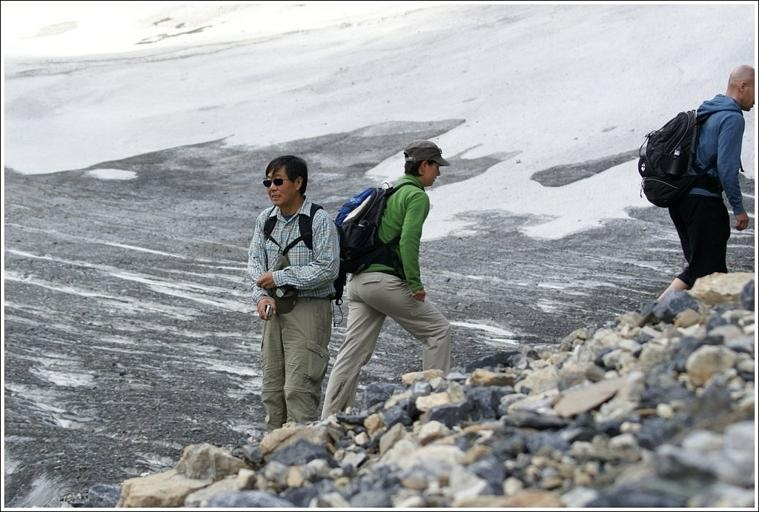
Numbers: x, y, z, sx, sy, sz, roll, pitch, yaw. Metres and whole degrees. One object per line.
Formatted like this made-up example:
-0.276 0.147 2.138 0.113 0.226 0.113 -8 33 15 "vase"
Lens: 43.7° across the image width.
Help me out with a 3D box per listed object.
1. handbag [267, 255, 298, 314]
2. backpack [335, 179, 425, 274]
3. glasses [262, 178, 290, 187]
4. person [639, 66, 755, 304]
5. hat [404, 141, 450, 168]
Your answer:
-0.913 0.295 9.405 0.335 0.480 0.210 9 5 40 "handbag"
-0.055 -0.239 9.683 0.714 0.923 0.237 -8 11 3 "backpack"
-1.027 -0.732 9.458 0.242 0.098 0.115 -4 10 17 "glasses"
3.261 -0.653 9.798 1.033 1.928 0.498 -7 11 12 "person"
0.510 -1.060 9.780 0.427 0.185 0.248 -1 10 -17 "hat"
